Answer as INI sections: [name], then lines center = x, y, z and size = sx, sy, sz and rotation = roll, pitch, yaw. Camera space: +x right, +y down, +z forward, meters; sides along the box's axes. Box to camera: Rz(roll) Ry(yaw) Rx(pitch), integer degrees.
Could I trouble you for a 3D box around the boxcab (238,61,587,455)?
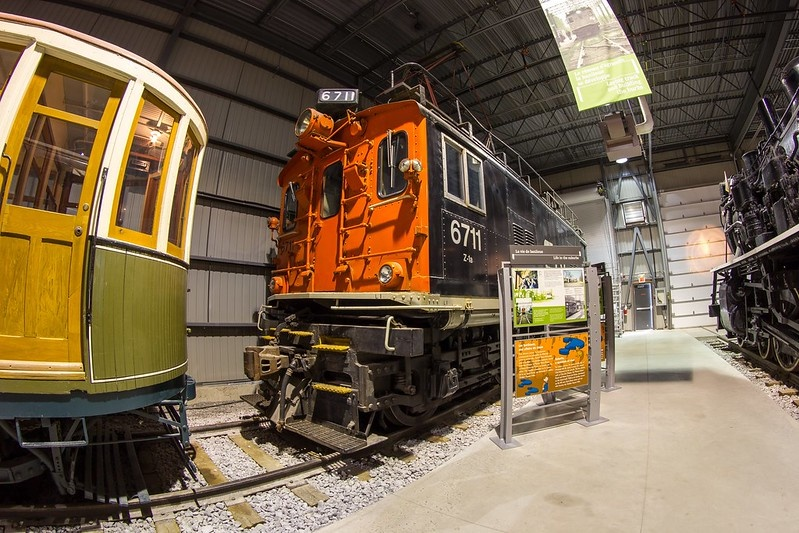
[boxcab]
center = 0.691, -0.017, 9.836
size = 3.934, 5.129, 8.122
rotation = -2, -2, 45
